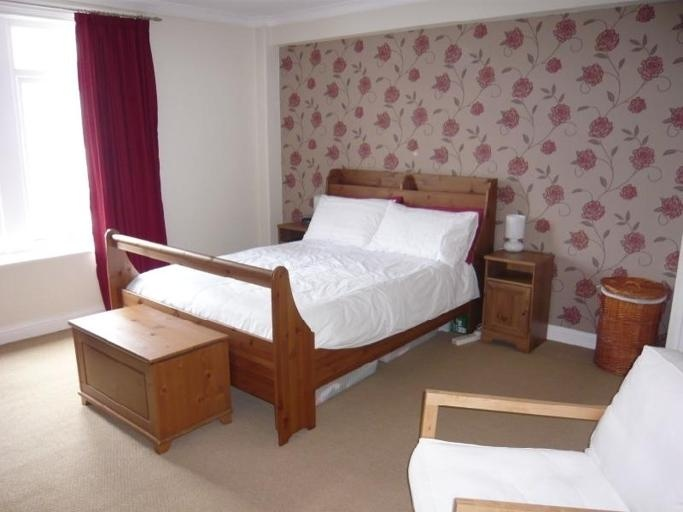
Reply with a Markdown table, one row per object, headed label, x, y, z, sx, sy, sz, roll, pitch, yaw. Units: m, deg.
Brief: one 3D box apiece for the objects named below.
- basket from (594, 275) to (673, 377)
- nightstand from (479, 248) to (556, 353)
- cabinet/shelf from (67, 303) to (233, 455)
| label | x | y | z | sx | sy | sz | roll | pitch | yaw |
| --- | --- | --- | --- | --- | --- | --- | --- | --- | --- |
| basket | 2.150 | 0.535 | 4.000 | 0.394 | 0.593 | 0.380 | 4 | 8 | 5 |
| nightstand | 1.485 | 0.348 | 4.443 | 0.501 | 0.761 | 0.492 | 6 | 14 | 27 |
| cabinet/shelf | -1.260 | 0.761 | 3.451 | 1.003 | 0.627 | 0.554 | 10 | 15 | 38 |
